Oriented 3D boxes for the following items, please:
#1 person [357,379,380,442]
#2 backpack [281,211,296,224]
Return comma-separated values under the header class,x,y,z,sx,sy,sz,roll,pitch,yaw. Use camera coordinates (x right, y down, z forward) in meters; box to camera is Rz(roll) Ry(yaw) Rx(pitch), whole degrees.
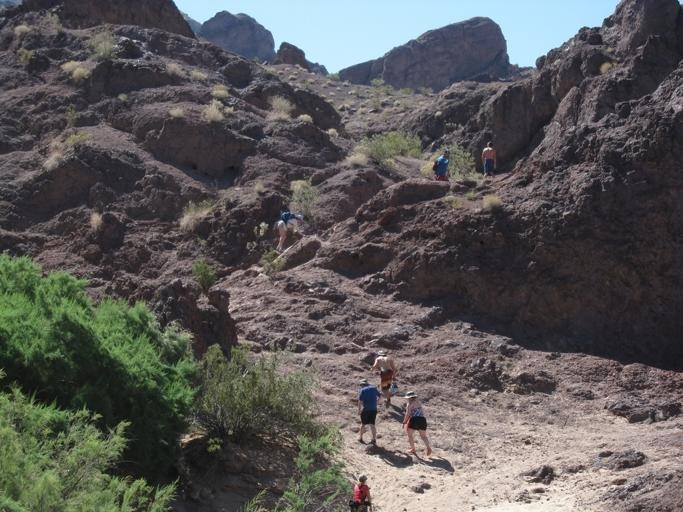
class,x,y,z,sx,sy,sz,roll,pitch,yaw
person,0.992,5.683,47.463,0.767,2.150,1.205,2,-22,23
backpack,-2.232,-1.740,55.265,0.477,0.442,0.602,-3,-39,15
